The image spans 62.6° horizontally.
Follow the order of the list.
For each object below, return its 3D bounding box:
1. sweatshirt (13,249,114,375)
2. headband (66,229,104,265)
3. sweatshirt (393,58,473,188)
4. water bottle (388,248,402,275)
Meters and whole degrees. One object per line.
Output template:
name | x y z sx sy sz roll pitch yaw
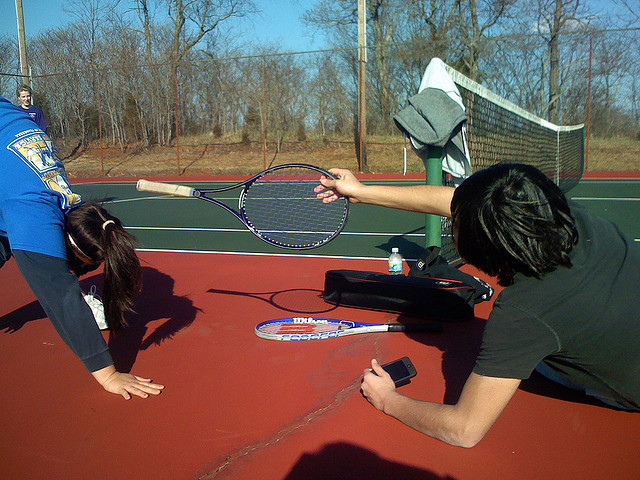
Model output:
sweatshirt | -1.564 0.428 3.178 0.468 0.792 0.183 1 11 9
headband | -1.533 0.058 3.357 0.170 0.224 0.052 46 56 10
sweatshirt | 0.978 -0.984 4.506 0.442 1.062 0.566 1 9 29
water bottle | 0.681 0.207 4.778 0.114 0.262 0.351 1 12 9
